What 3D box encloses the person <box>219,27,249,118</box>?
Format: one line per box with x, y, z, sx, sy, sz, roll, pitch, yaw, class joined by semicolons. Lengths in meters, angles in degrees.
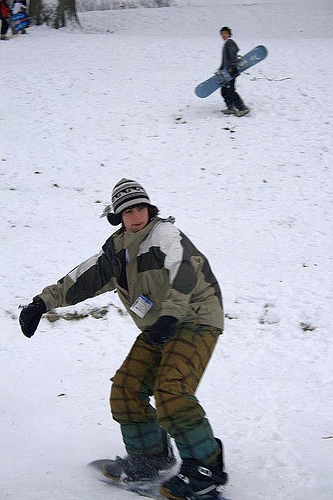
1.066;-2.795;9.245;0.470;1.355;0.493;-3;13;7;person

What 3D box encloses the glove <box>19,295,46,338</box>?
-0.689;0.342;3.004;0.086;0.194;0.116;12;-30;24;glove

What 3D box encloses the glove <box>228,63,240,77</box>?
1.088;-2.814;9.158;0.134;0.195;0.264;7;15;43;glove

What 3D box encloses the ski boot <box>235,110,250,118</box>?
1.216;-2.186;9.383;0.137;0.122;0.290;5;13;36;ski boot

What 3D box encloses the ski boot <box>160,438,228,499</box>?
0.219;1.029;2.768;0.496;0.166;0.152;-8;23;-6;ski boot

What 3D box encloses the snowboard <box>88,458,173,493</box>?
-0.207;1.145;2.937;0.226;0.027;0.179;2;3;23;snowboard

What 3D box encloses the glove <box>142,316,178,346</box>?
-0.024;0.366;2.637;0.168;0.124;0.113;-2;-22;0;glove

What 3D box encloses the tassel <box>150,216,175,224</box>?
-0.007;-0.152;2.919;0.145;0.043;0.036;3;32;23;tassel
